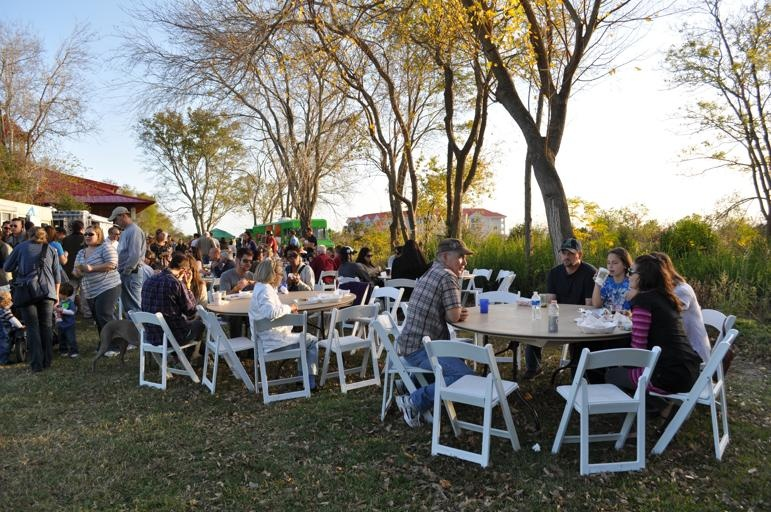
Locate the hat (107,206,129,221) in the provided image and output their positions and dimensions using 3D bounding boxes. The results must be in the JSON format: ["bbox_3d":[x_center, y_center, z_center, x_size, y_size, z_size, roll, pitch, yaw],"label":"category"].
[{"bbox_3d":[-4.939,-0.794,10.915,0.281,0.267,0.411,1,1,-26],"label":"hat"}]

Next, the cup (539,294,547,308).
[{"bbox_3d":[2.331,0.659,8.746,0.149,0.183,0.160,0,7,0],"label":"cup"}]

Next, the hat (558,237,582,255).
[{"bbox_3d":[2.872,-0.161,9.170,0.276,0.238,0.401,2,1,21],"label":"hat"}]

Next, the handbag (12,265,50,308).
[{"bbox_3d":[-6.040,0.524,10.056,0.505,0.525,0.318,-20,0,-25],"label":"handbag"}]

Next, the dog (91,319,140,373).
[{"bbox_3d":[-4.652,1.473,10.200,0.321,0.864,1.259,8,-5,16],"label":"dog"}]

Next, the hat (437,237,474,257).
[{"bbox_3d":[0.924,-0.132,8.088,0.355,0.163,0.258,1,2,-1],"label":"hat"}]

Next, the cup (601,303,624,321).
[{"bbox_3d":[3.211,0.771,8.367,0.210,0.239,0.471,0,1,12],"label":"cup"}]
